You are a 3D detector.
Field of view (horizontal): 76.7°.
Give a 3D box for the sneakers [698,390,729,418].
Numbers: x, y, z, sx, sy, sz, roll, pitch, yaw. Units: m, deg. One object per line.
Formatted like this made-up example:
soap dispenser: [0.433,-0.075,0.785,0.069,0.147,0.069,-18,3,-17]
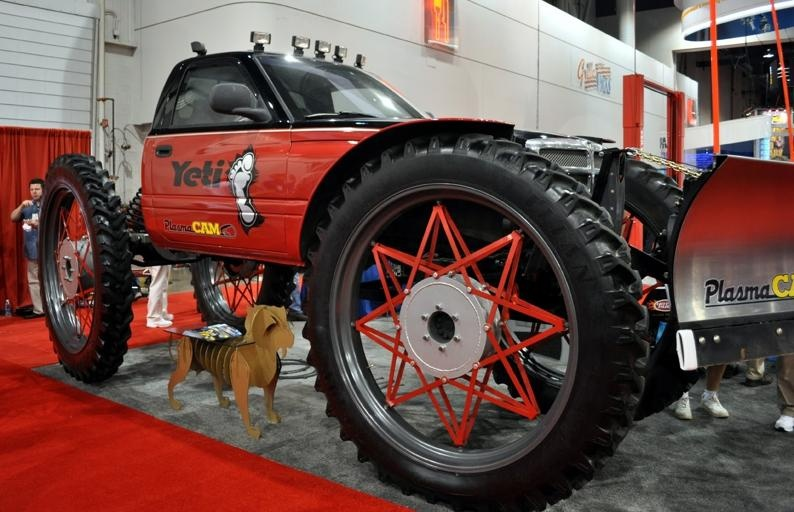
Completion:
sneakers: [2.846,1.331,4.538,0.110,0.150,0.316,-3,-6,-4]
